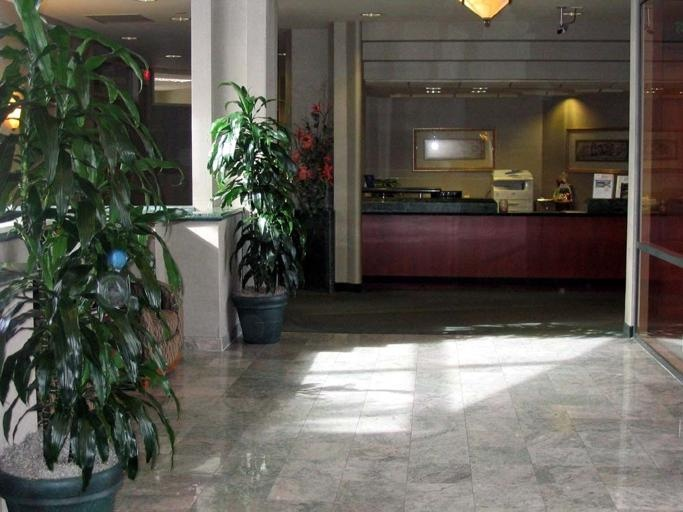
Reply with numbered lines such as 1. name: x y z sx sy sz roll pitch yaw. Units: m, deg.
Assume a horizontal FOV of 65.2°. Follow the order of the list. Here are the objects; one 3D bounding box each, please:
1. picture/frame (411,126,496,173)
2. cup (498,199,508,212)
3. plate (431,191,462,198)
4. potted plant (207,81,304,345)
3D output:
1. picture/frame: 2.394 -2.243 11.330 1.695 0.858 0.213 -1 7 -6
2. cup: 2.704 -0.840 8.867 0.145 0.176 0.102 0 7 2
3. plate: 1.750 -1.018 8.940 0.481 0.148 0.805 1 7 9
4. potted plant: -0.904 -0.469 5.481 0.900 2.692 0.932 -2 7 -14
